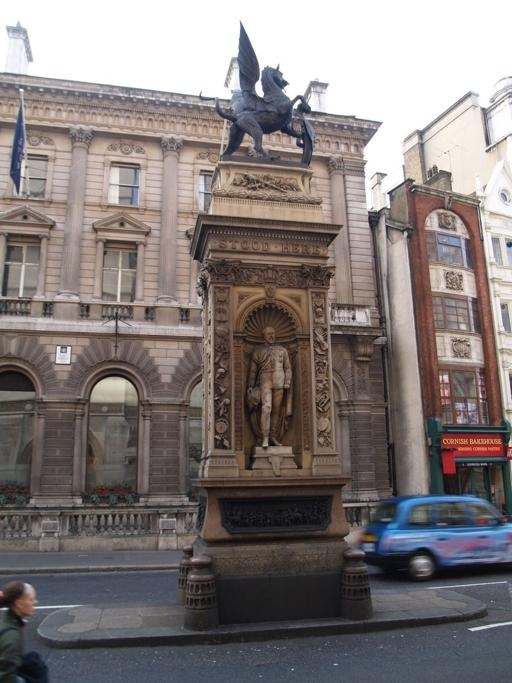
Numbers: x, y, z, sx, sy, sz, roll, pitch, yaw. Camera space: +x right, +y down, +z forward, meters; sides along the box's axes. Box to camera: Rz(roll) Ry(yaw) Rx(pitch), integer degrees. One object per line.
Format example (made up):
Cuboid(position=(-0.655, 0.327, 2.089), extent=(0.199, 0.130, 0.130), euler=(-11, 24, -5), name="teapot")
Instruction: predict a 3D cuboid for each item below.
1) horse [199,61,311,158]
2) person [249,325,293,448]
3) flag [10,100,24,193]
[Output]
Cuboid(position=(0.104, -4.107, 10.752), extent=(1.847, 1.702, 1.343), euler=(-4, 9, -23), name="horse")
Cuboid(position=(0.235, 0.703, 9.161), extent=(0.740, 1.843, 0.381), euler=(7, -15, -33), name="person")
Cuboid(position=(-9.527, -8.070, 24.138), extent=(0.465, 3.960, 2.105), euler=(4, -14, -23), name="flag")
